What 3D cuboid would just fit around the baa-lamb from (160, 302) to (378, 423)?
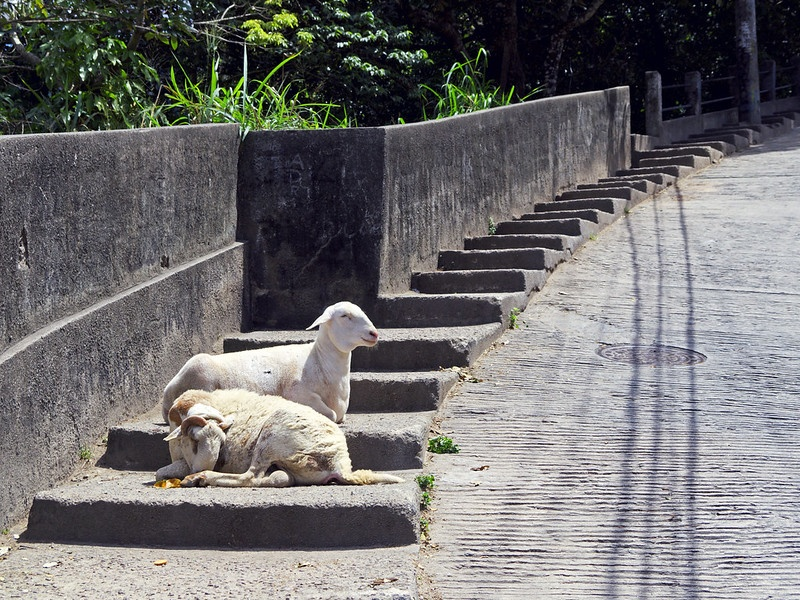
[{"bbox_3d":[-1.136,0.443,15.903,2.478,1.396,0.889,-6,17,-4],"label":"baa-lamb"}]
